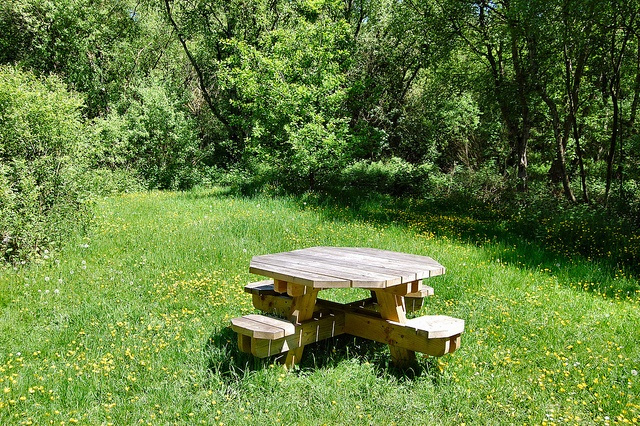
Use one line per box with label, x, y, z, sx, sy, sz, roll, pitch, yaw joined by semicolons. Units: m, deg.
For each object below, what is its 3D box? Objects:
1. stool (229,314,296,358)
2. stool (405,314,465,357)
stool;-1.273;2.802;11.846;1.116;0.742;1.505;-7;7;-38
stool;2.657;2.794;11.913;1.333;0.669;0.895;-3;7;-29
